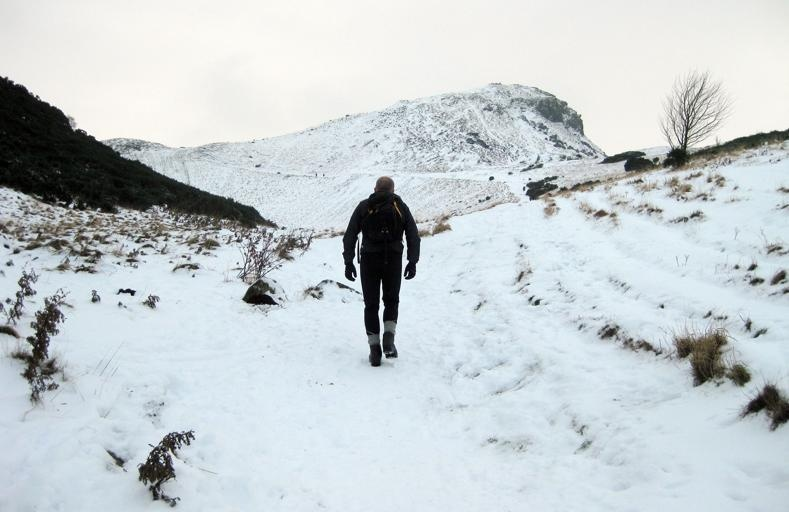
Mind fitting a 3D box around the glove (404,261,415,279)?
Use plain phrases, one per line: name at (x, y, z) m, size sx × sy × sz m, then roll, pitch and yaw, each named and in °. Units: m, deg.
glove at (0.270, 0.238, 9.171) m, size 0.170 × 0.278 × 0.076 m, roll 3°, pitch 3°, yaw -6°
